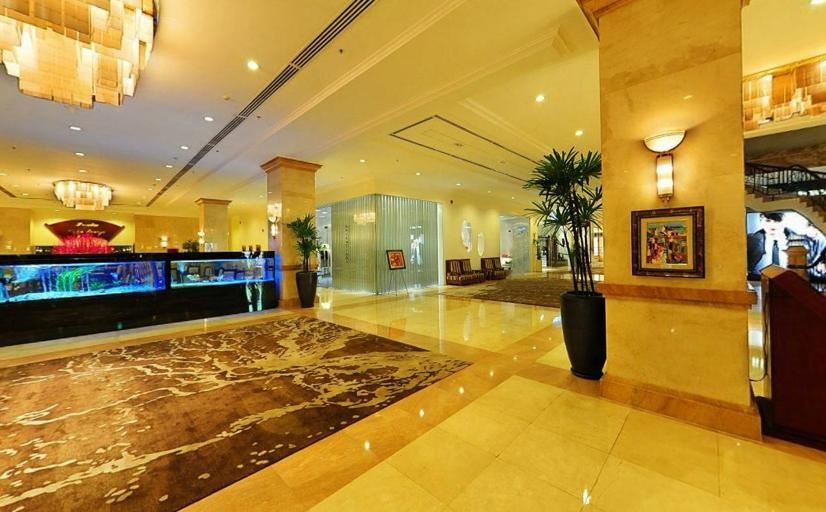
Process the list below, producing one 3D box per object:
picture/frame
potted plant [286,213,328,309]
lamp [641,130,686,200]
[{"bbox_3d":[3.594,-0.199,6.400,1.129,1.162,0.096,0,-1,28],"label":"picture/frame"},{"bbox_3d":[-2.701,0.106,11.710,0.731,2.349,0.692,-4,6,-25],"label":"potted plant"},{"bbox_3d":[3.549,-1.265,6.436,0.496,0.940,0.163,1,6,25],"label":"lamp"}]
